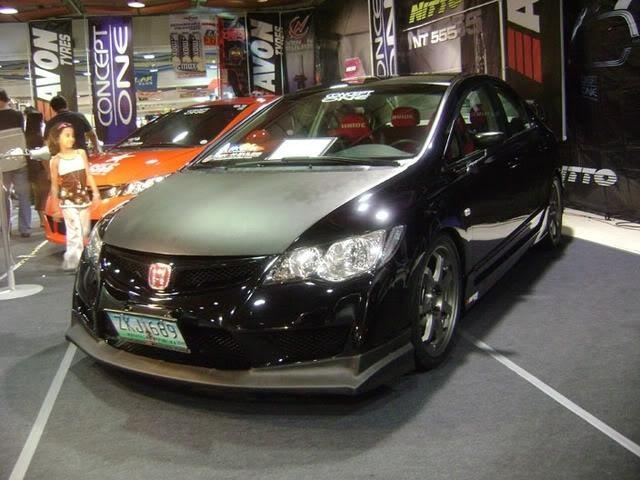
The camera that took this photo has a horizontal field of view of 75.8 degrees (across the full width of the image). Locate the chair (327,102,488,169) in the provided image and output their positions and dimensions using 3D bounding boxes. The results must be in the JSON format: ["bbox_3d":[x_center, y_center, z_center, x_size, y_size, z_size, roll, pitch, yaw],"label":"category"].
[{"bbox_3d":[0.404,-0.767,2.855,0.610,0.443,1.058,20,27,38],"label":"chair"}]
